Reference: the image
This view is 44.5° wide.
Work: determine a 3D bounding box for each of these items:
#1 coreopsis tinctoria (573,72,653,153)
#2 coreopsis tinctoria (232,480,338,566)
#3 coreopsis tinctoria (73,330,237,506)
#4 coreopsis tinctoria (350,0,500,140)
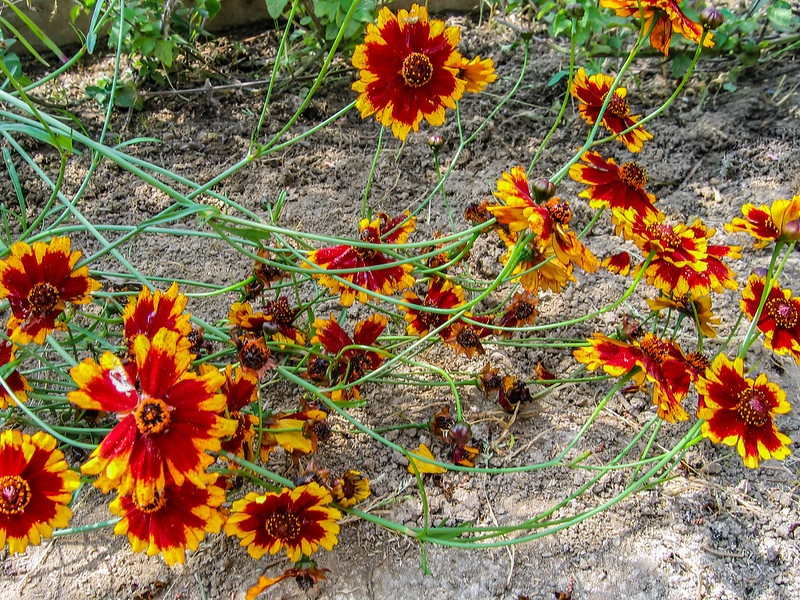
[{"bbox_3d":[0.605,-0.574,2.854,0.241,0.083,0.236,52,43,-4],"label":"coreopsis tinctoria"},{"bbox_3d":[-0.299,0.568,2.513,0.268,0.109,0.326,5,18,13],"label":"coreopsis tinctoria"},{"bbox_3d":[-0.588,0.248,2.319,0.399,0.392,0.117,33,16,-14],"label":"coreopsis tinctoria"},{"bbox_3d":[0.020,-0.624,2.667,0.304,0.224,0.247,7,59,-6],"label":"coreopsis tinctoria"}]
